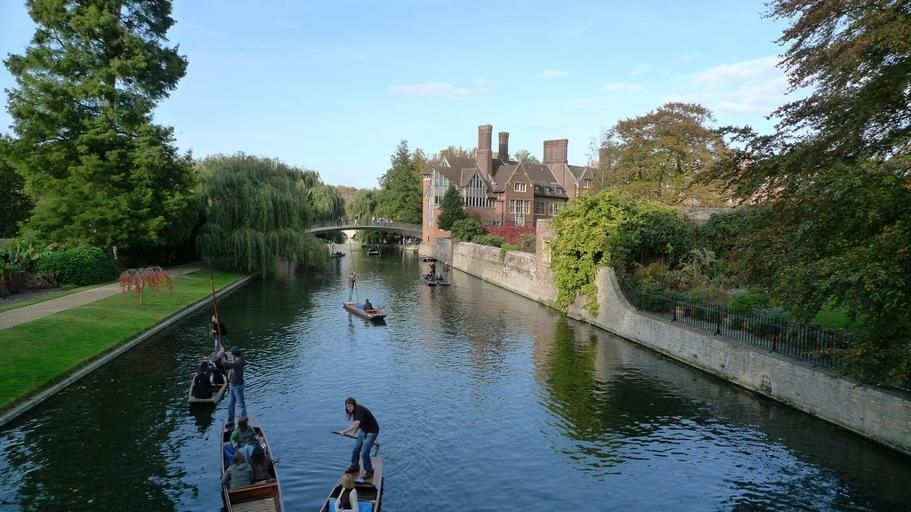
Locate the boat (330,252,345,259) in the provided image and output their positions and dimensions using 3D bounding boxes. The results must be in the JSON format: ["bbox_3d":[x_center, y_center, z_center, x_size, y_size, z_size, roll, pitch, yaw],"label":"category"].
[{"bbox_3d":[-17.630,-0.077,88.151,2.860,1.091,0.937,3,4,44],"label":"boat"}]

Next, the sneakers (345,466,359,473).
[{"bbox_3d":[-4.799,10.073,27.742,0.704,0.286,0.255,12,-4,-22],"label":"sneakers"}]
